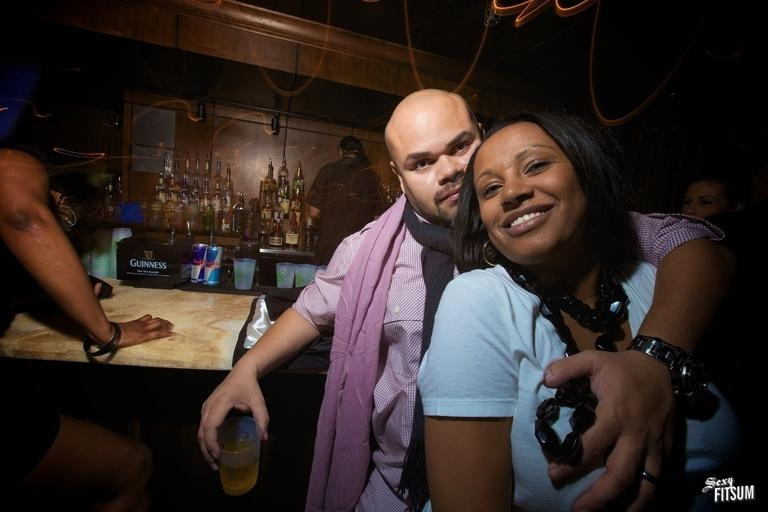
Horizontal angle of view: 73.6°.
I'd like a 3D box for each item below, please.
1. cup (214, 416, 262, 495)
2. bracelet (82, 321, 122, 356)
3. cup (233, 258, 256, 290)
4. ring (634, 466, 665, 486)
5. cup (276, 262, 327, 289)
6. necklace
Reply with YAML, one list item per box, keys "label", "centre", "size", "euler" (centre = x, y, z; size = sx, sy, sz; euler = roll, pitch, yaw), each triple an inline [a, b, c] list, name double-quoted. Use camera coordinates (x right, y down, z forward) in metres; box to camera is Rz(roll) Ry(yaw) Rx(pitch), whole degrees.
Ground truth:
- label: "cup"
  centre: [-0.727, 0.979, 2.539]
  size: [0.203, 0.336, 0.158]
  euler: [4, 5, -12]
- label: "bracelet"
  centre: [-1.419, 0.447, 2.649]
  size: [0.162, 0.185, 0.067]
  euler: [0, -40, 33]
- label: "cup"
  centre: [-0.932, 0.112, 3.510]
  size: [0.182, 0.205, 0.179]
  euler: [2, 0, 0]
- label: "ring"
  centre: [1.072, 0.890, 2.070]
  size: [0.065, 0.019, 0.069]
  euler: [28, 3, -1]
- label: "cup"
  centre: [-0.578, 0.125, 3.400]
  size: [0.217, 0.164, 0.194]
  euler: [-1, -7, 11]
- label: "necklace"
  centre: [0.838, 0.436, 2.171]
  size: [0.709, 0.503, 0.165]
  euler: [-40, 4, -14]
